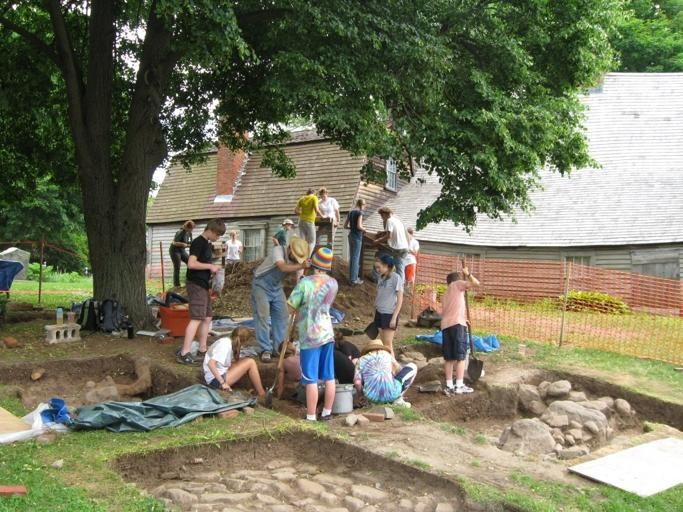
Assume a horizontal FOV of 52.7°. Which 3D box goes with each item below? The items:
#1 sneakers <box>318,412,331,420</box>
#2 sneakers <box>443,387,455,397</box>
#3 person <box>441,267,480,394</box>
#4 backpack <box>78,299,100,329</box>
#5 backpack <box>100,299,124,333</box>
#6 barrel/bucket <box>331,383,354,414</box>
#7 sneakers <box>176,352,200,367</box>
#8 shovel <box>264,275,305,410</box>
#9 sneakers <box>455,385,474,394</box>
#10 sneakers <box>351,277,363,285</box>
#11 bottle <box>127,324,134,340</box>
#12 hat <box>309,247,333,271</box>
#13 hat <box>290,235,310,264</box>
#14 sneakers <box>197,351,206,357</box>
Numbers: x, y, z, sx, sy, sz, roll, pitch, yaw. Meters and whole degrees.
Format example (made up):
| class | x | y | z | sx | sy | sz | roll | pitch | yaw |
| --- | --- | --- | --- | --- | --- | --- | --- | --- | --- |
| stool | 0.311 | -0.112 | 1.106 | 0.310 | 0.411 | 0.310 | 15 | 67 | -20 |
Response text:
| class | x | y | z | sx | sy | sz | roll | pitch | yaw |
| --- | --- | --- | --- | --- | --- | --- | --- | --- | --- |
| sneakers | -0.257 | 2.475 | 10.627 | 0.074 | 0.080 | 0.188 | 5 | -5 | -44 |
| sneakers | 1.876 | 2.365 | 12.011 | 0.139 | 0.155 | 0.361 | 6 | -5 | 10 |
| person | 2.030 | 1.290 | 12.050 | 0.585 | 2.221 | 0.368 | 3 | 2 | 8 |
| backpack | -5.374 | 1.246 | 14.756 | 0.368 | 0.681 | 0.382 | 1 | 2 | -28 |
| backpack | -4.873 | 1.290 | 14.677 | 0.465 | 0.778 | 0.576 | -6 | -10 | 12 |
| barrel/bucket | 0.037 | 2.287 | 10.986 | 0.430 | 0.383 | 0.417 | 1 | -7 | 0 |
| sneakers | -2.755 | 1.885 | 12.518 | 0.520 | 0.202 | 0.186 | 4 | -4 | 4 |
| shovel | -1.000 | 1.543 | 11.923 | 0.169 | 0.472 | 2.417 | -1 | -30 | -20 |
| sneakers | 2.119 | 2.327 | 12.073 | 0.381 | 0.164 | 0.133 | -1 | 1 | -17 |
| sneakers | 0.439 | 0.684 | 18.588 | 0.124 | 0.146 | 0.360 | 5 | 4 | 35 |
| bottle | -4.355 | 1.561 | 14.297 | 0.123 | 0.243 | 0.251 | 2 | 1 | -18 |
| hat | -0.306 | 0.020 | 10.747 | 0.314 | 0.235 | 0.406 | 14 | 10 | -20 |
| hat | -0.776 | -0.092 | 11.890 | 0.367 | 0.455 | 0.185 | -12 | -11 | -43 |
| sneakers | -2.588 | 1.803 | 12.773 | 0.134 | 0.076 | 0.130 | 2 | -5 | -5 |
